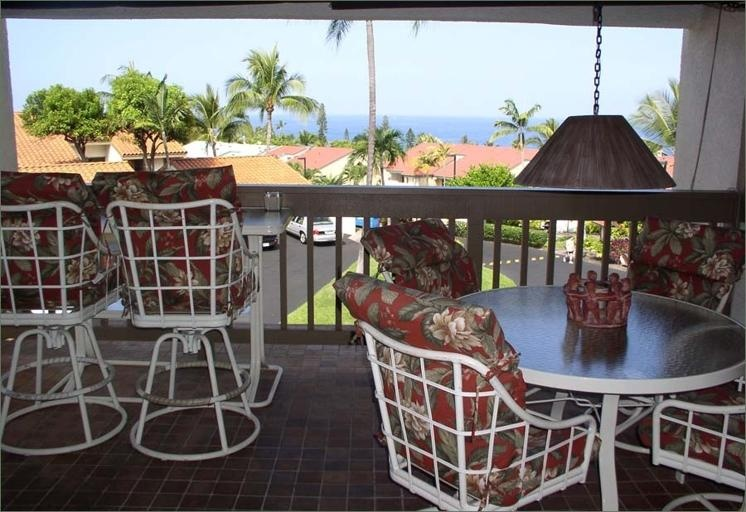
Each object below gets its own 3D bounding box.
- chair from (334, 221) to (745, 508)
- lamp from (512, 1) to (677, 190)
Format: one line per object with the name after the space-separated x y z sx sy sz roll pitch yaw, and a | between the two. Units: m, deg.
0.659 0.459 2.323 1.388 0.781 1.071 -9 19 -29 | chair
0.966 -0.643 2.569 0.609 0.671 0.655 6 12 24 | lamp
